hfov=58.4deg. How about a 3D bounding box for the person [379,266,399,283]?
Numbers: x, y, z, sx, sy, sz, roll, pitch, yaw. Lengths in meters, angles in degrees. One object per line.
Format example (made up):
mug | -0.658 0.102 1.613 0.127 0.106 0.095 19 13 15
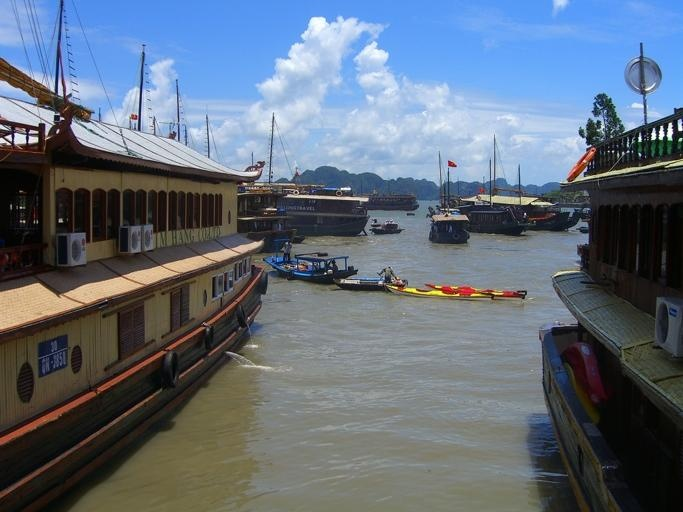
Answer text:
person | 2.867 1.147 37.469 1.283 0.658 1.975 1 9 1

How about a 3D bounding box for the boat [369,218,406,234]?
boat | 5.786 -4.038 84.071 3.567 1.446 5.808 0 11 -5

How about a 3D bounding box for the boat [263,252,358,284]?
boat | -1.885 0.673 38.623 3.000 1.612 6.389 -7 14 -36

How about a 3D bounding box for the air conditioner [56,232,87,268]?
air conditioner | -6.042 -0.150 13.636 0.382 0.728 0.711 1 4 3
